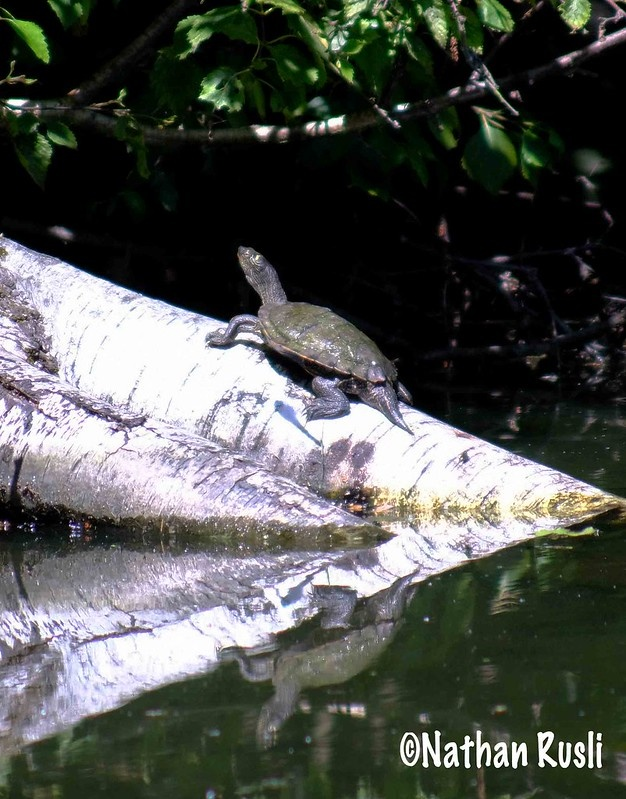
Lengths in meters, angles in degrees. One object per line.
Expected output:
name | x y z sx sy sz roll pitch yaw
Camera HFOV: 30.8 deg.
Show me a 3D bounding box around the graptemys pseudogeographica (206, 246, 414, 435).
graptemys pseudogeographica | 0.037 -0.313 5.364 0.754 0.323 1.043 -19 47 -36
